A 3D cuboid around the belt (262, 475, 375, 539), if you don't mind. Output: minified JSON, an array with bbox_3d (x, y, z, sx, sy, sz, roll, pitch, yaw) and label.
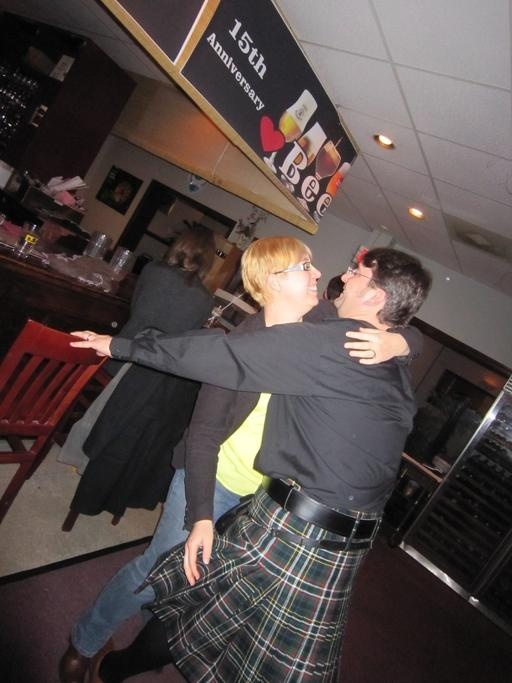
[{"bbox_3d":[0.161,0.435,1.189,0.197,0.061,0.191,19,-7,29],"label":"belt"}]

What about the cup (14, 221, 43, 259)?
[{"bbox_3d":[-1.213,-0.539,2.452,0.095,0.172,0.272,30,5,-29],"label":"cup"}]
